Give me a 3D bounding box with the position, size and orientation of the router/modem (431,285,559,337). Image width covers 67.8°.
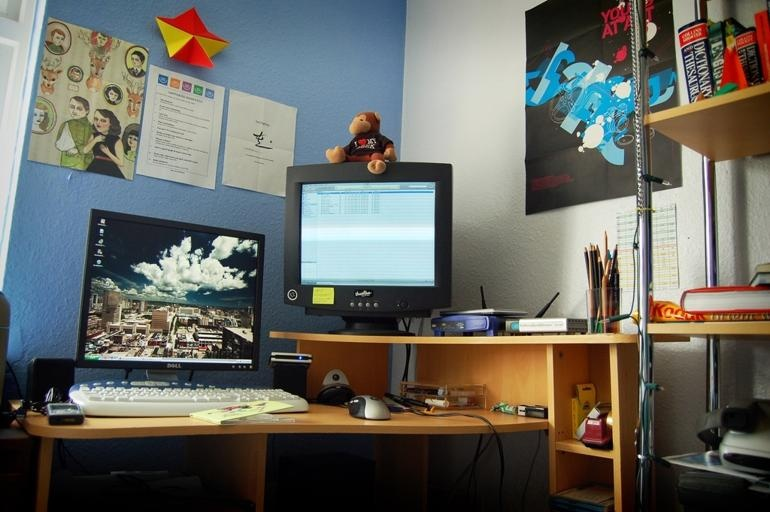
[{"bbox_3d":[0.354,0.171,2.146,0.282,0.127,0.247,0,-1,40],"label":"router/modem"}]

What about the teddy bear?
[{"bbox_3d":[-0.097,-0.475,2.359,0.278,0.249,0.171,6,22,17],"label":"teddy bear"}]

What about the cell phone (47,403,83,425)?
[{"bbox_3d":[-0.855,0.423,1.541,0.077,0.028,0.124,0,8,-32],"label":"cell phone"}]

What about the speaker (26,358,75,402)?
[{"bbox_3d":[-1.088,0.410,1.876,0.102,0.138,0.077,18,-41,-37],"label":"speaker"}]

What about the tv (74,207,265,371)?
[{"bbox_3d":[-0.741,0.134,1.960,0.589,0.495,0.201,6,-14,-24],"label":"tv"}]

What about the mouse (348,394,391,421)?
[{"bbox_3d":[-0.050,0.477,1.792,0.088,0.063,0.145,-2,10,-44],"label":"mouse"}]
